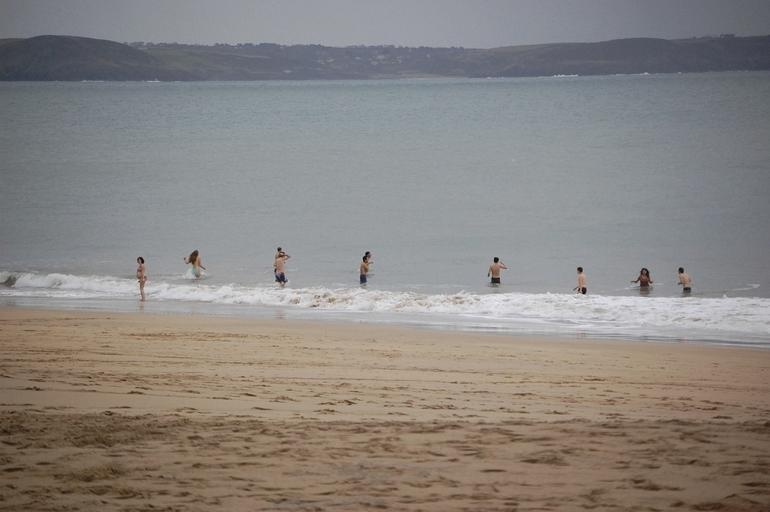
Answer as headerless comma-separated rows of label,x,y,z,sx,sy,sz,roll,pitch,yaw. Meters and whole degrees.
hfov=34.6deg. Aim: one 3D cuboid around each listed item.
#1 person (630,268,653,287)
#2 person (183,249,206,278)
person,20.238,1.783,96.911,1.511,1.942,0.669,0,-6,14
person,-15.468,0.740,98.975,1.109,3.012,1.335,16,38,17
